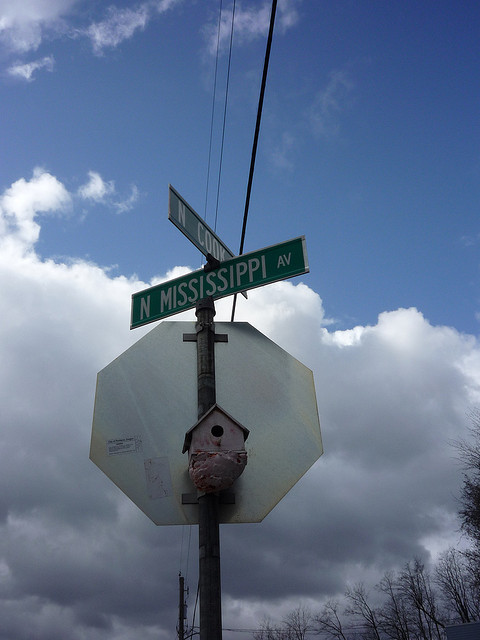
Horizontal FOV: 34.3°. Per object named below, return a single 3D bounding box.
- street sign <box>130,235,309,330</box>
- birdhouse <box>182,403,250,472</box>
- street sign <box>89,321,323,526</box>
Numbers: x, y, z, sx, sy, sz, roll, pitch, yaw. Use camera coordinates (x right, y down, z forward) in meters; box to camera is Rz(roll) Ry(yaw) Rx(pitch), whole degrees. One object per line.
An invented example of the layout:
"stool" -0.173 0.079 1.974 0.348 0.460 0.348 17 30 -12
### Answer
"street sign" -0.162 -0.256 5.558 1.332 0.390 0.049 -17 -46 10
"birdhouse" -0.148 0.707 4.790 0.369 0.440 0.348 3 -10 -8
"street sign" -0.208 0.617 5.047 1.486 1.504 0.061 0 -37 -5
